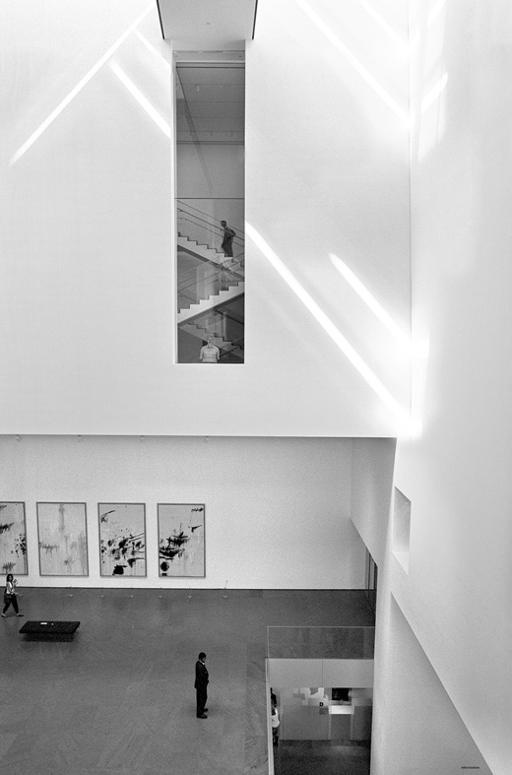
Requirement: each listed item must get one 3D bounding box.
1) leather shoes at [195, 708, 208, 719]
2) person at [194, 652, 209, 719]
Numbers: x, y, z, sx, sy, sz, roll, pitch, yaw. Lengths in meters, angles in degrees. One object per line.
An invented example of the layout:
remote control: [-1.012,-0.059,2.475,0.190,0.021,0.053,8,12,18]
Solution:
leather shoes: [-0.764,4.562,10.445,0.160,0.092,0.256,0,4,-5]
person: [-0.769,4.174,10.482,0.163,0.860,0.380,0,4,-4]
